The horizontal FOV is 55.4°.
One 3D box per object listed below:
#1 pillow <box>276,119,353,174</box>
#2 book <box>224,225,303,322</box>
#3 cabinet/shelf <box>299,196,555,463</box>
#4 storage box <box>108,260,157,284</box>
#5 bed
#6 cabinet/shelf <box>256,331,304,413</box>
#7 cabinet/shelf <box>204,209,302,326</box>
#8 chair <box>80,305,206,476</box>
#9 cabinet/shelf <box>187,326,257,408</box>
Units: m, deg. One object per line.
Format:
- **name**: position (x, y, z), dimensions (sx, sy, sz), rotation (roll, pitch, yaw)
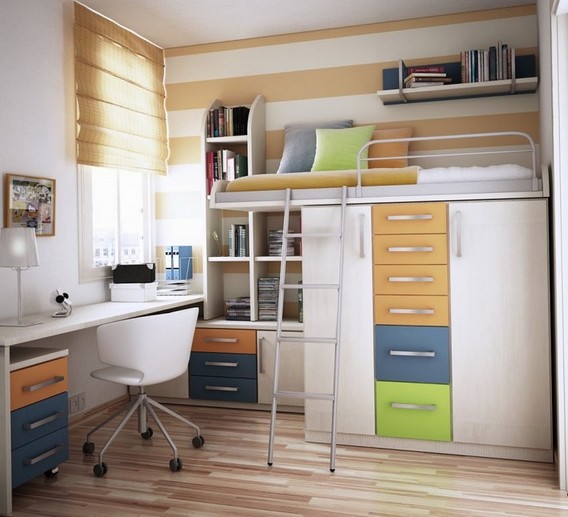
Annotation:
- **pillow**: position (0.245, -0.801, 3.944), dimensions (0.548, 0.380, 0.208), rotation (-4, 1, 17)
- **book**: position (-0.135, 0.115, 4.142), dimensions (0.740, 0.678, 0.228), rotation (-1, 3, 6)
- **cabinet/shelf**: position (0.896, 0.416, 3.160), dimensions (1.525, 1.480, 0.585), rotation (0, -1, 17)
- **storage box**: position (-1.126, 0.115, 3.975), dimensions (0.346, 0.145, 0.098), rotation (0, 4, 7)
- **bed**: position (0.667, -0.614, 3.692), dimensions (2.002, 0.530, 1.230), rotation (1, 5, 21)
- **cabinet/shelf**: position (-0.029, 0.821, 3.921), dimensions (0.343, 0.587, 0.088), rotation (0, 4, 10)
- **cabinet/shelf**: position (-0.228, 0.079, 4.183), dimensions (0.902, 0.877, 0.299), rotation (0, -1, 10)
- **chair**: position (-0.829, 0.669, 3.558), dimensions (0.810, 1.072, 0.926), rotation (3, 4, 28)
- **cabinet/shelf**: position (-0.396, 0.761, 4.277), dimensions (0.679, 0.673, 0.505), rotation (0, 0, 13)
